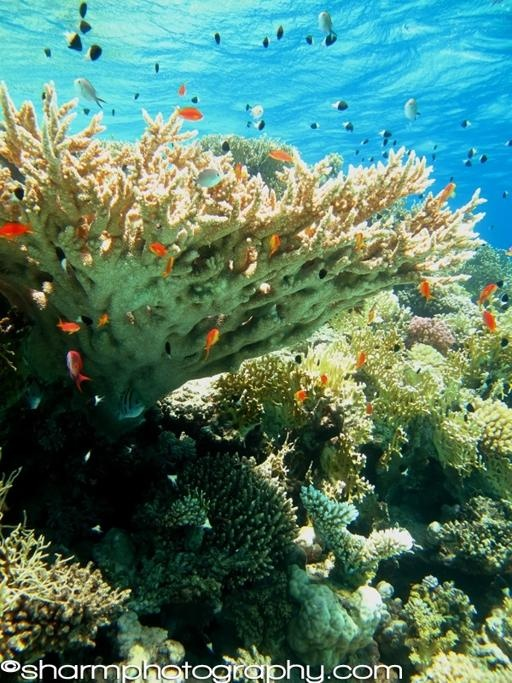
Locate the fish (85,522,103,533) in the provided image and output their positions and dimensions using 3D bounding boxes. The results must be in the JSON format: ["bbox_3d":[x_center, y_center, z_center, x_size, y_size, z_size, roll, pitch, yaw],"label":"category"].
[{"bbox_3d":[-1.507,1.746,5.471,0.101,0.049,0.109,17,-19,-12],"label":"fish"}]

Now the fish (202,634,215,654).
[{"bbox_3d":[-0.438,2.735,5.274,0.055,0.231,0.067,-14,29,-5],"label":"fish"}]

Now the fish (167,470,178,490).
[{"bbox_3d":[-0.833,1.391,5.811,0.131,0.131,0.156,2,5,-5],"label":"fish"}]

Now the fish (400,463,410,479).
[{"bbox_3d":[2.027,1.760,7.844,0.152,0.228,0.083,5,28,-3],"label":"fish"}]
